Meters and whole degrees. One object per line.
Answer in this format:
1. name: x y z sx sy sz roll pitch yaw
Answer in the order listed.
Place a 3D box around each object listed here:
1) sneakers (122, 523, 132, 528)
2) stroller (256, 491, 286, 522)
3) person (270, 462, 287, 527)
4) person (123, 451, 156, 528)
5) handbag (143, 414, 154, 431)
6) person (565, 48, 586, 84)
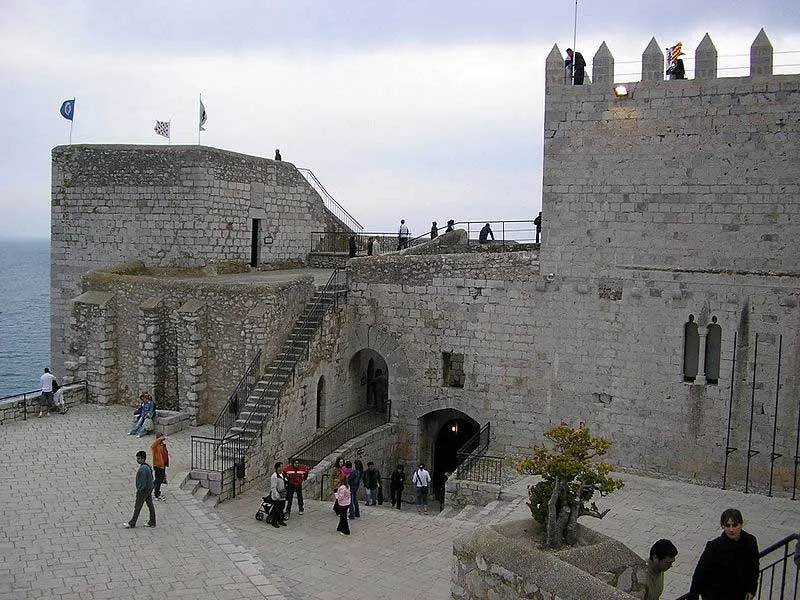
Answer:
1. sneakers: -6.288 5.188 18.626 0.210 0.090 0.088 10 -11 23
2. stroller: -3.385 5.260 20.433 0.759 0.819 0.539 -6 11 -33
3. person: -3.015 4.879 20.313 0.378 1.445 0.651 8 13 19
4. person: -6.041 4.236 18.899 0.644 1.916 1.543 0 13 -18
5. handbag: -7.504 3.710 24.114 0.235 0.373 0.105 -1 -7 -43
6. person: 5.372 -7.134 24.910 0.650 1.032 0.902 6 13 12
